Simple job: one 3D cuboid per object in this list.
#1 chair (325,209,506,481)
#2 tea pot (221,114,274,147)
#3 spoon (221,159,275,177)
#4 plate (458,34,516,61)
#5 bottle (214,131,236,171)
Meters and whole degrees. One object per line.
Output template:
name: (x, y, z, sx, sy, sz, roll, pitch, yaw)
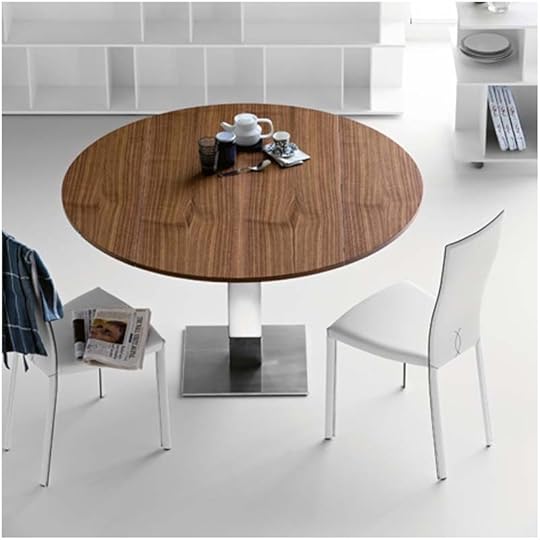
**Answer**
chair: (0.503, 0.310, 1.991, 0.508, 0.942, 0.458, 28, 41, 37)
tea pot: (-0.083, -0.513, 2.094, 0.161, 0.104, 0.112, -2, 43, -3)
spoon: (-0.082, -0.354, 1.976, 0.148, 0.027, 0.032, -16, 29, -13)
plate: (1.266, -1.310, 3.313, 0.280, 0.204, 0.242, 3, 11, 25)
bottle: (-0.159, -0.408, 1.964, 0.072, 0.115, 0.066, 0, 36, 0)
